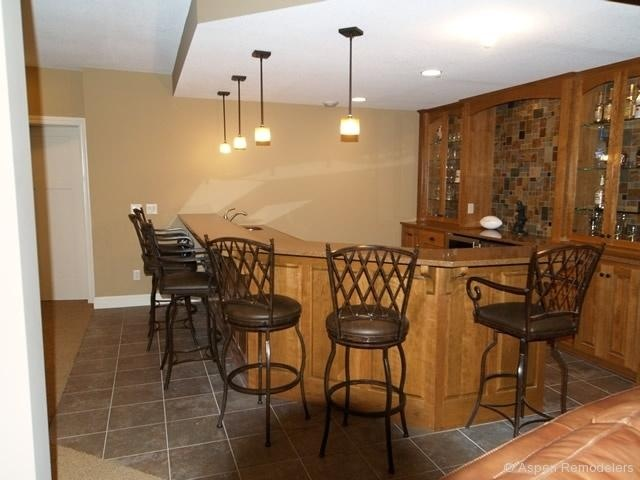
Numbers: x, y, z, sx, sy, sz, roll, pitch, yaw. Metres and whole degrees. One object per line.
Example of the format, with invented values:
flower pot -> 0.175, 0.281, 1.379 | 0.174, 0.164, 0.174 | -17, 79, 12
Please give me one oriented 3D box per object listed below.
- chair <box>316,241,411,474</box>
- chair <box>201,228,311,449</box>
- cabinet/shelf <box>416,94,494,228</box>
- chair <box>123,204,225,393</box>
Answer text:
chair -> 0.301, 0.620, 3.123 | 0.598, 1.283, 0.809 | 0, 12, 2
chair -> -0.434, 0.527, 3.566 | 0.651, 1.292, 1.261 | -3, 12, -10
cabinet/shelf -> 1.664, -0.972, 6.133 | 0.549, 1.593, 1.411 | -3, 9, -21
chair -> -1.322, 0.544, 4.537 | 0.627, 1.221, 1.381 | -4, 13, -21
